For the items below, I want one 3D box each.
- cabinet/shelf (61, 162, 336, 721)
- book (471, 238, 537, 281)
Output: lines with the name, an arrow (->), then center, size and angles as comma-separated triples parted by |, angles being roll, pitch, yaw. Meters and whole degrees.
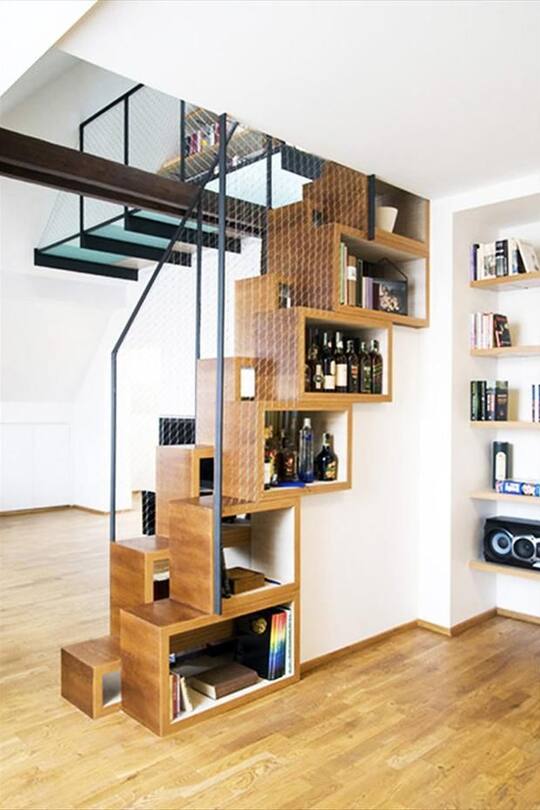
cabinet/shelf -> -0.289, 0.167, 2.912 | 1.130, 2.108, 0.798 | 1, -1, -43
book -> 1.298, -0.784, 3.543 | 0.161, 0.224, 0.405 | 1, -1, -36
